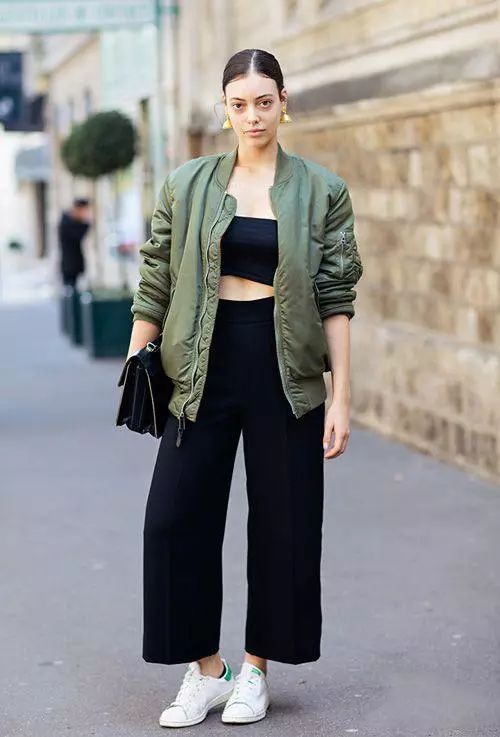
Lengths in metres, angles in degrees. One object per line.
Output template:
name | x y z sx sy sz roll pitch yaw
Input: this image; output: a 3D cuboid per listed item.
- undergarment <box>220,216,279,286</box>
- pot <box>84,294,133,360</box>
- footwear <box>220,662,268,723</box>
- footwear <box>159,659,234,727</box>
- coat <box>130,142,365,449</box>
undergarment | 0.001 -0.282 1.798 0.129 0.153 0.085 10 22 7
pot | -1.751 -0.534 9.654 0.687 0.865 0.894 0 6 -3
footwear | -0.011 0.840 1.982 0.064 0.076 0.183 -1 -4 10
footwear | -0.133 0.849 2.049 0.082 0.108 0.246 0 8 28
coat | -0.025 -0.207 1.897 0.586 0.670 0.259 -3 6 7
